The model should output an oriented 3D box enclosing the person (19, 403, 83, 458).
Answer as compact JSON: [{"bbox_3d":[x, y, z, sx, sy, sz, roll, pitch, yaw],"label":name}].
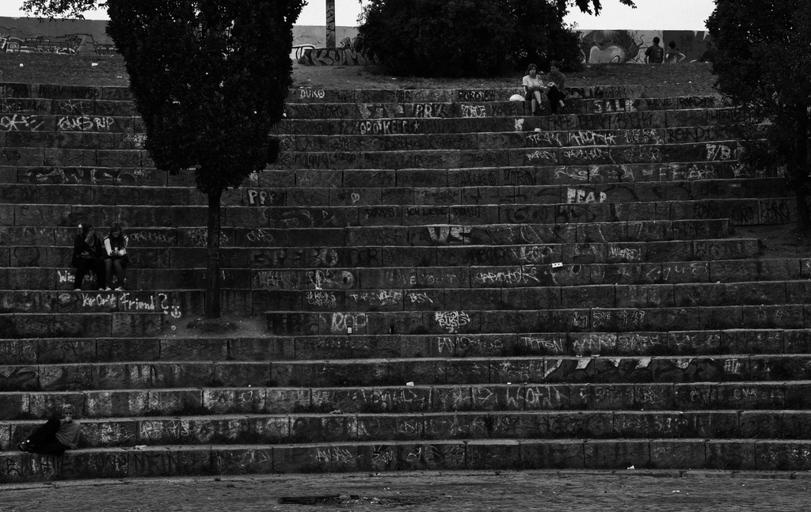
[{"bbox_3d":[-7.375,3.749,45.606,1.222,1.187,0.803,-2,-30,-7],"label":"person"}]

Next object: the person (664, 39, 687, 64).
[{"bbox_3d":[7.645,-5.887,62.261,0.577,0.671,1.507,-2,0,8],"label":"person"}]

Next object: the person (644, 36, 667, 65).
[{"bbox_3d":[7.028,-5.909,62.070,0.522,0.782,1.318,-2,0,6],"label":"person"}]

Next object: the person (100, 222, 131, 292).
[{"bbox_3d":[-6.380,0.029,48.136,0.507,1.406,0.544,-2,0,-8],"label":"person"}]
